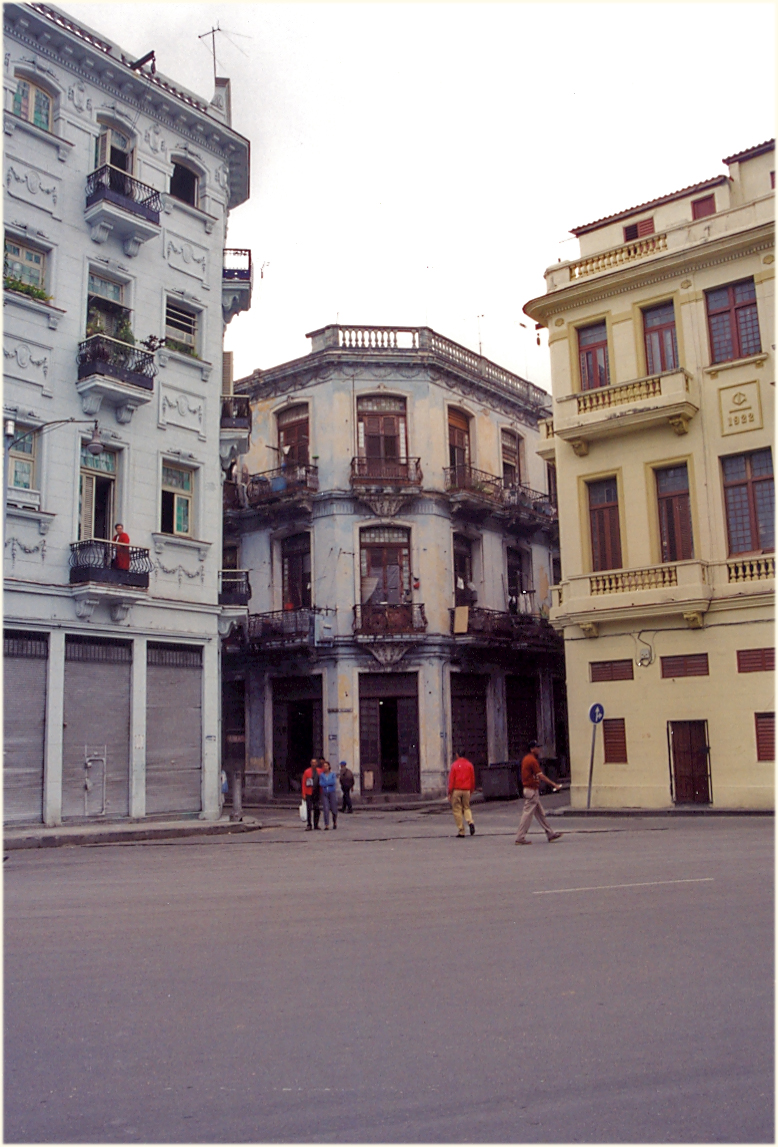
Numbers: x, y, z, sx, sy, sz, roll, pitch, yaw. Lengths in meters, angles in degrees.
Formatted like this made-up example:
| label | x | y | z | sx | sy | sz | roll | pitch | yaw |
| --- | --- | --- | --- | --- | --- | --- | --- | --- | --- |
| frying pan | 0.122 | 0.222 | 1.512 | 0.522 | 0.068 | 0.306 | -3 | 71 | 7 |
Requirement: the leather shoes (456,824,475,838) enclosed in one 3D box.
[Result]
| label | x | y | z | sx | sy | sz | roll | pitch | yaw |
| --- | --- | --- | --- | --- | --- | --- | --- | --- | --- |
| leather shoes | 1.399 | 4.745 | 20.244 | 0.223 | 0.215 | 0.579 | 11 | -13 | -2 |

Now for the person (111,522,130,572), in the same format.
| label | x | y | z | sx | sy | sz | roll | pitch | yaw |
| --- | --- | --- | --- | --- | --- | --- | --- | --- | --- |
| person | -5.790 | -0.572 | 23.624 | 0.362 | 1.195 | 0.846 | 0 | -8 | -15 |

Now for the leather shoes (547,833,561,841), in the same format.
| label | x | y | z | sx | sy | sz | roll | pitch | yaw |
| --- | --- | --- | --- | --- | --- | --- | --- | --- | --- |
| leather shoes | 2.748 | 4.386 | 18.285 | 0.120 | 0.113 | 0.302 | 16 | -13 | -13 |
